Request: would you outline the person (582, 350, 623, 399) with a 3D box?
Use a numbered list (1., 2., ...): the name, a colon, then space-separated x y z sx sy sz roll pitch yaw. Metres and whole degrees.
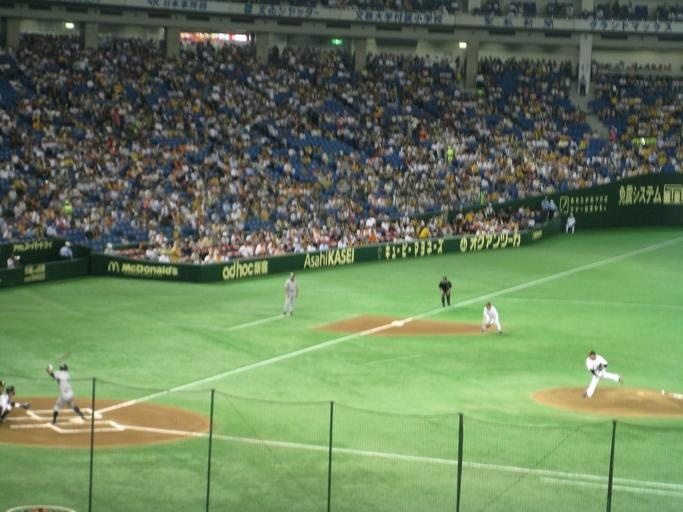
1. person: 12.792 5.842 66.054 0.850 1.750 1.566 16 52 43
